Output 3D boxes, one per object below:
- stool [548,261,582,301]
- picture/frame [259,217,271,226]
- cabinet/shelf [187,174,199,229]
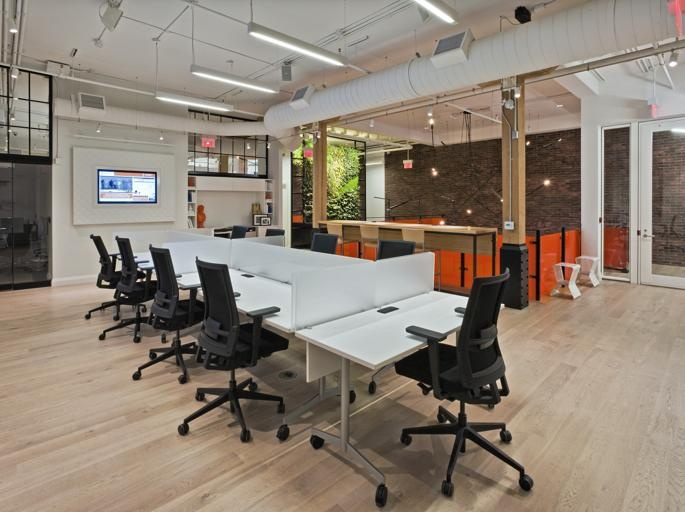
[{"bbox_3d":[4.150,0.412,8.485,0.710,0.797,0.642,-3,4,-40],"label":"stool"},{"bbox_3d":[-2.194,-0.980,12.670,0.261,0.253,0.090,-3,5,-43],"label":"picture/frame"},{"bbox_3d":[-3.704,-1.341,11.299,0.288,1.249,0.289,3,13,14],"label":"cabinet/shelf"}]
